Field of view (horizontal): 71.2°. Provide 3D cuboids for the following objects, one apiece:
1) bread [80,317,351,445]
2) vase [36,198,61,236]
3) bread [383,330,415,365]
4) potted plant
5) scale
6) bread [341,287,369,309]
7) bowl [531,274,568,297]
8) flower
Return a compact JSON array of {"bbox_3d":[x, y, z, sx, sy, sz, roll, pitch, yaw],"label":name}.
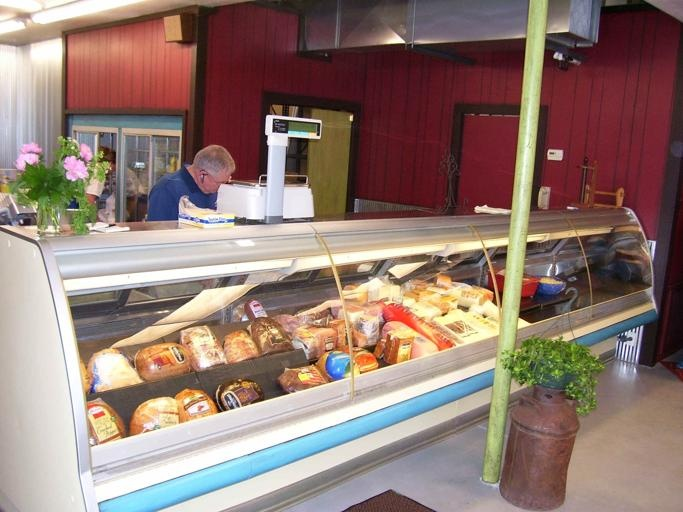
[{"bbox_3d":[-0.571,0.546,2.014,0.914,0.366,0.579,-7,14,-39],"label":"bread"},{"bbox_3d":[-1.071,-0.150,1.761,0.092,0.147,0.091,1,1,-11],"label":"vase"},{"bbox_3d":[0.298,0.491,2.560,0.164,0.153,0.093,-1,17,-37],"label":"bread"},{"bbox_3d":[1.092,0.574,2.579,0.399,0.423,0.487,10,14,43],"label":"potted plant"},{"bbox_3d":[-0.409,-0.443,2.449,0.524,0.555,0.361,-3,17,-36],"label":"scale"},{"bbox_3d":[0.075,0.213,2.451,0.103,0.050,0.102,2,4,-25],"label":"bread"},{"bbox_3d":[1.601,0.225,3.661,0.201,0.124,0.156,-2,8,6],"label":"bowl"},{"bbox_3d":[-0.993,-0.272,1.816,0.255,0.342,0.422,-10,15,-43],"label":"flower"}]
